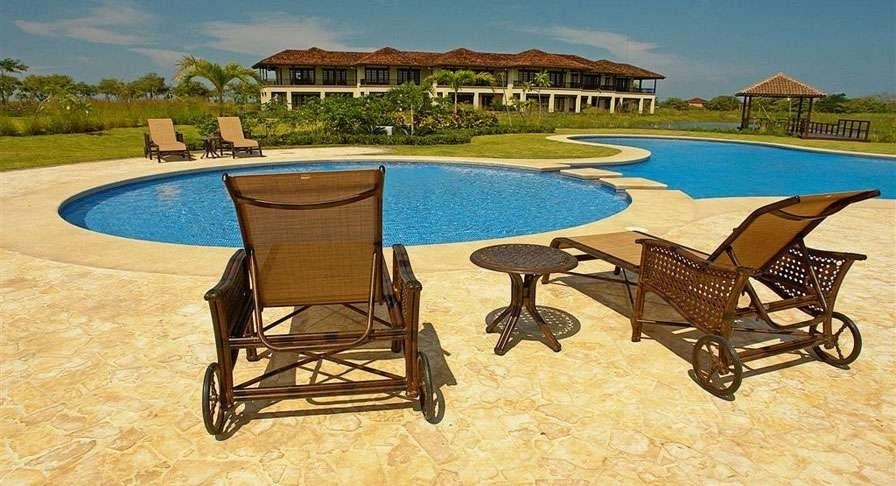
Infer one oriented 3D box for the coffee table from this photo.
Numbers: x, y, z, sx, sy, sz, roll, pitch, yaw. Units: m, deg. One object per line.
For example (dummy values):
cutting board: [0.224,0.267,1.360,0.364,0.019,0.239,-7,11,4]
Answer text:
coffee table: [0.959,0.666,6.531,1.804,0.969,1.364,-2,19,-2]
